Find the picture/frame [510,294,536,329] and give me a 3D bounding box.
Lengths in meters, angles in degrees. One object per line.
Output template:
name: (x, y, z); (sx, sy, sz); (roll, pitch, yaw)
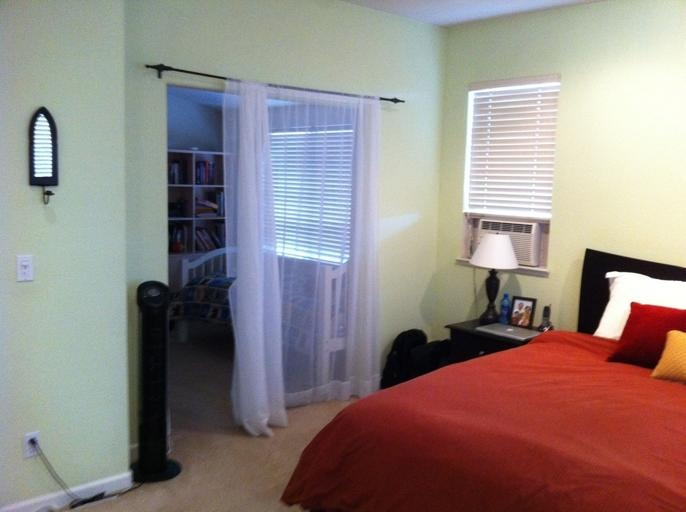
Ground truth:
picture/frame: (1.533, 0.486, 4.274); (0.260, 0.366, 0.034); (2, -22, 40)
